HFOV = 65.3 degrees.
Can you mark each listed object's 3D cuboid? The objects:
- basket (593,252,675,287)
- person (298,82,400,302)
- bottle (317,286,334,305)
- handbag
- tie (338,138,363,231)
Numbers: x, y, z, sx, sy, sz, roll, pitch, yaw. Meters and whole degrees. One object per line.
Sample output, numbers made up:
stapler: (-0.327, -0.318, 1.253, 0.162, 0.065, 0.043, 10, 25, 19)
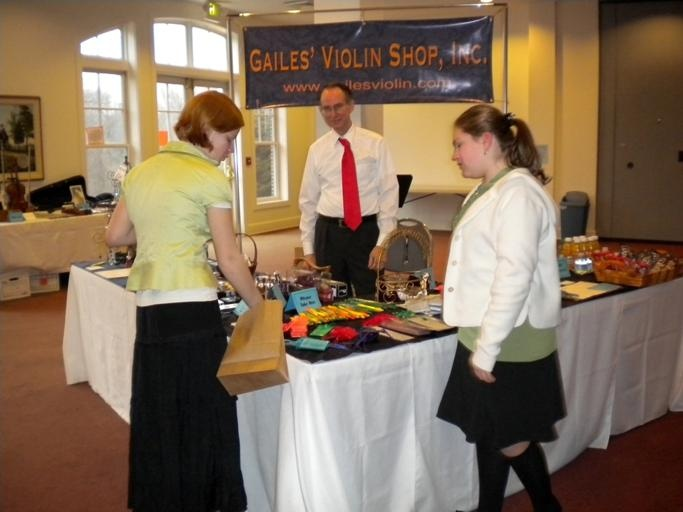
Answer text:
basket: (1.701, 0.067, 3.032, 0.315, 0.102, 0.242, -8, 12, -33)
person: (0.052, -0.152, 3.524, 0.621, 1.866, 0.427, 0, 20, 13)
bottle: (-0.079, 0.209, 2.783, 0.082, 0.122, 0.083, -1, -20, 0)
handbag: (-0.315, 0.353, 2.002, 0.243, 0.257, 0.348, -2, 13, -2)
tie: (0.060, -0.457, 3.335, 0.116, 0.561, 0.207, -3, 12, -8)
